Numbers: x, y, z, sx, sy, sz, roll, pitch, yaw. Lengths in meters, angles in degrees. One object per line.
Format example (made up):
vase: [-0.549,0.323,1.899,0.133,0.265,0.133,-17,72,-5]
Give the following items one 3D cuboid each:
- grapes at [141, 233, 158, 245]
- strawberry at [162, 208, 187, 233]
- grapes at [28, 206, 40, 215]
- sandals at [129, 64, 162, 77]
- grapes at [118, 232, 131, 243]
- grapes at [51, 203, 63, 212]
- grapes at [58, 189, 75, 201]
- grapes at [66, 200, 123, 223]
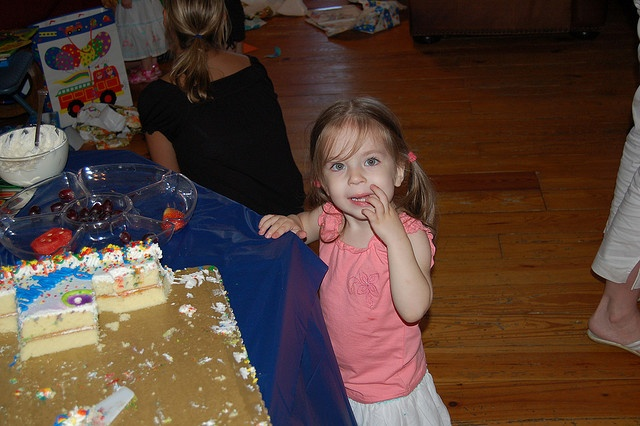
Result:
grapes: [-0.578,0.086,1.837,0.032,0.011,0.047,10,20,-1]
strawberry: [-0.517,0.030,1.917,0.072,0.051,0.050,34,71,10]
grapes: [-1.039,-0.010,1.968,0.031,0.019,0.034,8,36,-13]
sandals: [-1.684,-1.377,5.182,0.405,0.137,0.120,3,21,-1]
grapes: [-0.667,0.087,1.847,0.035,0.028,0.040,2,1,-12]
grapes: [-0.967,-0.021,1.984,0.043,0.033,0.019,-5,7,-10]
grapes: [-0.952,-0.067,2.033,0.048,0.029,0.056,-2,20,-14]
grapes: [-0.798,0.001,1.908,0.125,0.039,0.110,-6,4,-1]
